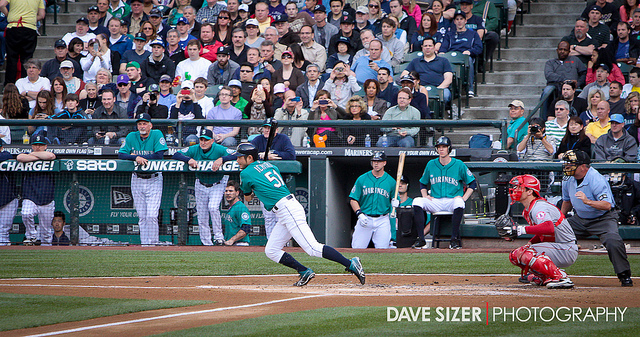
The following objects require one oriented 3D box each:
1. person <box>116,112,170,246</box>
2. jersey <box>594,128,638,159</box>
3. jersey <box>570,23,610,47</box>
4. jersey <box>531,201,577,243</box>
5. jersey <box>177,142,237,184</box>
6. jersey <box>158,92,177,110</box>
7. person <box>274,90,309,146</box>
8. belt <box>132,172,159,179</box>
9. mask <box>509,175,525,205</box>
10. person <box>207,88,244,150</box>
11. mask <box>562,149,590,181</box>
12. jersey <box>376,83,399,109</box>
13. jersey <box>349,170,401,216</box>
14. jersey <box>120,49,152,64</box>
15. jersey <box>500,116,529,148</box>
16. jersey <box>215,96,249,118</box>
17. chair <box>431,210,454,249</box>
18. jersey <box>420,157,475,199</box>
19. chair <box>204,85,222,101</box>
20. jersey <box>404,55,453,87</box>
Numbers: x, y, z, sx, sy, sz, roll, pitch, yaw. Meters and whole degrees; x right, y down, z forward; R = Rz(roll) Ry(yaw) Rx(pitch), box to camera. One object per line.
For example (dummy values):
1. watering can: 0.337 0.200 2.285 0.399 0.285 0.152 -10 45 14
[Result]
1. person: -4.476 0.319 26.882 0.954 3.367 0.528 1 -1 -12
2. jersey: 7.600 -0.595 26.768 1.053 0.754 0.219 1 -1 10
3. jersey: 7.948 -3.866 30.194 1.051 0.777 0.580 8 -26 22
4. jersey: 5.236 1.232 23.408 0.992 0.930 0.271 1 -1 -20
5. jersey: -2.911 -0.072 26.817 1.170 0.724 0.265 0 -11 -3
6. jersey: -4.224 -1.817 28.654 0.530 0.583 0.228 0 -27 1
7. person: -0.770 -1.159 27.914 1.013 1.743 0.887 4 3 37
8. belt: -4.430 0.237 26.809 0.518 0.119 0.088 1 -1 -14
9. mask: 4.433 0.496 23.588 0.535 0.491 0.390 0 1 4
10. person: -2.619 -1.114 27.747 1.059 2.071 1.254 8 16 8
11. mask: 5.935 -0.110 24.001 0.665 0.749 0.723 -14 12 -42
12. jersey: 1.911 -1.967 28.173 0.529 0.709 0.691 2 -2 -43
13. jersey: 1.398 0.685 27.250 1.152 1.165 0.289 1 -1 -1
14. jersey: -5.399 -3.249 30.410 0.959 0.424 0.292 0 -2 19
15. jersey: 5.298 -0.894 28.121 0.545 0.863 0.923 -1 -4 2
16. jersey: -2.161 -1.637 28.164 0.504 0.588 0.408 1 -1 3
17. chair: 3.135 1.578 26.649 0.507 0.972 0.405 1 -1 10
18. jersey: 3.279 0.261 26.711 1.544 0.979 0.561 -1 8 31
19. chair: -2.981 -2.096 29.070 0.457 0.488 0.402 4 2 3
20. jersey: 3.101 -2.704 29.084 1.030 0.892 0.407 1 2 35
